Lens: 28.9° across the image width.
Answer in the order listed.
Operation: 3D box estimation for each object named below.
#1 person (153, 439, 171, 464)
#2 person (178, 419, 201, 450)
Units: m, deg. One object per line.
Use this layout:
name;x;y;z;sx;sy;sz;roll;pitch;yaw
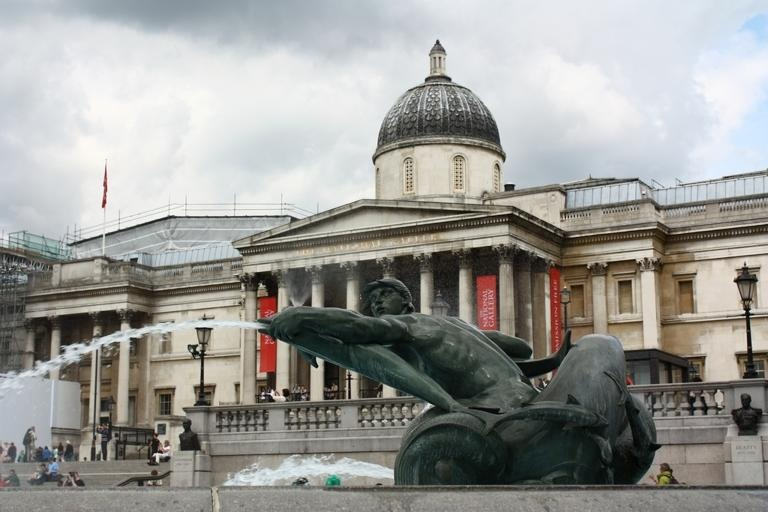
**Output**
person;-10.340;9.110;69.516;0.794;1.301;2.458;0;-14;-8
person;-7.888;7.244;60.374;0.819;1.258;0.781;8;-17;-35
